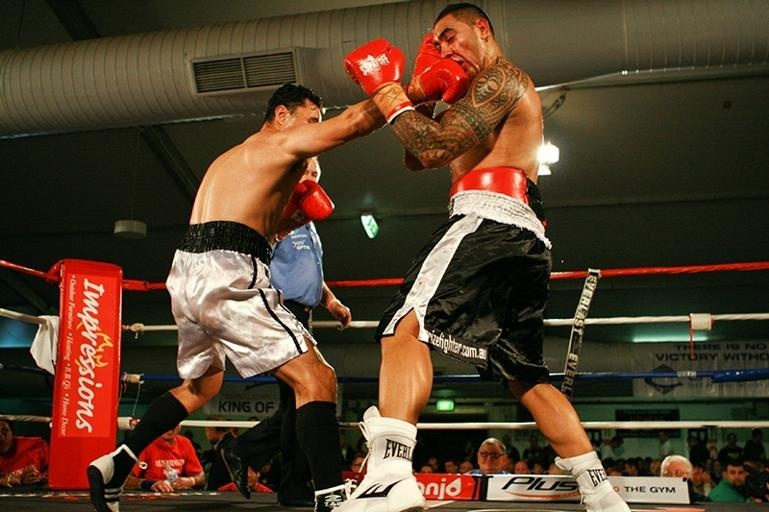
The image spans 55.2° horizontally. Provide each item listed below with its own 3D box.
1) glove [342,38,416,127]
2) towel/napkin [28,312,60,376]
[{"bbox_3d":[0.037,-1.152,5.042,0.473,0.606,0.221,-37,-14,-8],"label":"glove"},{"bbox_3d":[-2.833,0.738,6.170,0.193,0.484,0.239,5,-10,-24],"label":"towel/napkin"}]
